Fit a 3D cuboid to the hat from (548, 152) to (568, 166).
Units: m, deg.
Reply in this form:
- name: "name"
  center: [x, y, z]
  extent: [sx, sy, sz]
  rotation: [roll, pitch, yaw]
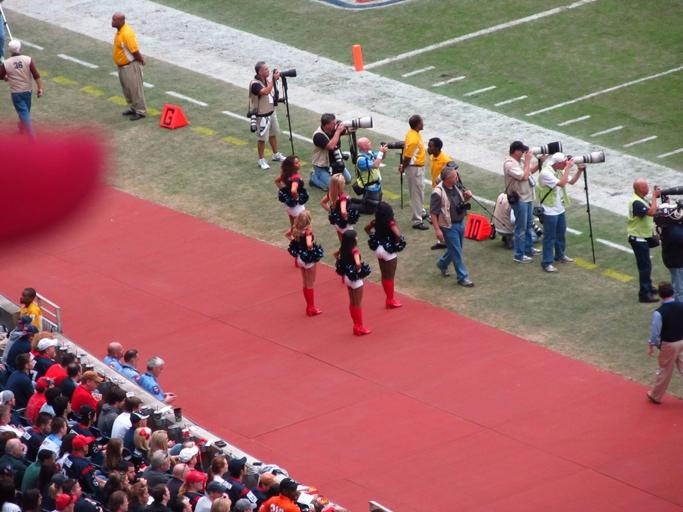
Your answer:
- name: "hat"
  center: [3.915, -1.748, 24.242]
  extent: [0.327, 0.092, 0.228]
  rotation: [-14, 18, 7]

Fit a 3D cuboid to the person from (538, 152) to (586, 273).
- name: "person"
  center: [3.908, -0.790, 24.377]
  extent: [0.634, 2.073, 0.804]
  rotation: [5, 24, 18]

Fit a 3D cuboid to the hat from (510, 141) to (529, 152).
- name: "hat"
  center: [3.283, -1.975, 24.497]
  extent: [0.304, 0.241, 0.217]
  rotation: [-14, 32, 2]

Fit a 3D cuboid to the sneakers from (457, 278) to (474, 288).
- name: "sneakers"
  center: [2.265, 0.471, 24.111]
  extent: [0.284, 0.098, 0.139]
  rotation: [9, 25, 39]

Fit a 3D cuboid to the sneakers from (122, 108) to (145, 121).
- name: "sneakers"
  center: [-4.554, -3.136, 29.969]
  extent: [0.629, 0.220, 0.203]
  rotation: [8, 28, 3]

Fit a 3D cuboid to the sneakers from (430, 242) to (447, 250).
- name: "sneakers"
  center: [1.849, -0.189, 25.197]
  extent: [0.333, 0.115, 0.103]
  rotation: [2, 20, 18]

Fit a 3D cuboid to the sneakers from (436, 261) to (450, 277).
- name: "sneakers"
  center: [1.880, 0.235, 24.413]
  extent: [0.373, 0.178, 0.133]
  rotation: [24, 78, 40]

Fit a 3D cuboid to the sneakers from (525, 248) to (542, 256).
- name: "sneakers"
  center: [3.620, -0.091, 25.056]
  extent: [0.402, 0.140, 0.122]
  rotation: [-8, 24, -21]

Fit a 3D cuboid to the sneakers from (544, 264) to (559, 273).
- name: "sneakers"
  center: [3.848, 0.218, 24.469]
  extent: [0.119, 0.117, 0.288]
  rotation: [-4, 7, -18]

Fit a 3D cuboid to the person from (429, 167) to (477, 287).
- name: "person"
  center: [2.004, -0.558, 24.075]
  extent: [0.745, 2.099, 0.898]
  rotation: [-2, 22, 3]

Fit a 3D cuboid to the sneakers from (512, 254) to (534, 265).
- name: "sneakers"
  center: [3.379, 0.055, 24.779]
  extent: [0.384, 0.143, 0.135]
  rotation: [0, 22, 2]

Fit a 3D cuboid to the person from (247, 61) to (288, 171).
- name: "person"
  center: [-1.528, -2.865, 27.725]
  extent: [0.681, 2.200, 0.610]
  rotation: [-6, 23, -7]

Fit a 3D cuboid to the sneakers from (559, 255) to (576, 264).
- name: "sneakers"
  center: [4.188, 0.056, 24.741]
  extent: [0.284, 0.104, 0.117]
  rotation: [-2, 14, 1]

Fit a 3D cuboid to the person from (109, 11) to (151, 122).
- name: "person"
  center: [-4.609, -4.165, 29.658]
  extent: [0.642, 2.352, 0.703]
  rotation: [-6, 23, -7]

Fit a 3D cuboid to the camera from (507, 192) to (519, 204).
- name: "camera"
  center: [3.153, -1.054, 24.562]
  extent: [0.237, 0.251, 0.086]
  rotation: [11, 26, 30]

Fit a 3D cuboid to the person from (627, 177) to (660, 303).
- name: "person"
  center: [5.286, -0.277, 23.392]
  extent: [0.530, 2.051, 0.878]
  rotation: [1, 23, 9]

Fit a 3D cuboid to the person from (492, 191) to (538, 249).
- name: "person"
  center: [3.271, -0.653, 24.958]
  extent: [0.759, 1.048, 0.572]
  rotation: [-22, 38, -18]

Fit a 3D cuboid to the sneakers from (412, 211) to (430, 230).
- name: "sneakers"
  center: [1.577, -0.645, 25.924]
  extent: [0.177, 0.185, 0.538]
  rotation: [8, 16, 27]

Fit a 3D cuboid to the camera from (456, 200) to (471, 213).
- name: "camera"
  center: [2.222, -0.862, 23.892]
  extent: [0.212, 0.093, 0.259]
  rotation: [17, 40, 28]

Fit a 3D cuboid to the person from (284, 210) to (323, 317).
- name: "person"
  center: [-0.582, 0.035, 23.473]
  extent: [0.574, 1.851, 0.918]
  rotation: [-4, 22, -2]

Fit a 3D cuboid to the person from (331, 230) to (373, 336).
- name: "person"
  center: [0.264, 0.414, 22.819]
  extent: [0.527, 1.774, 0.705]
  rotation: [-8, 23, -12]
